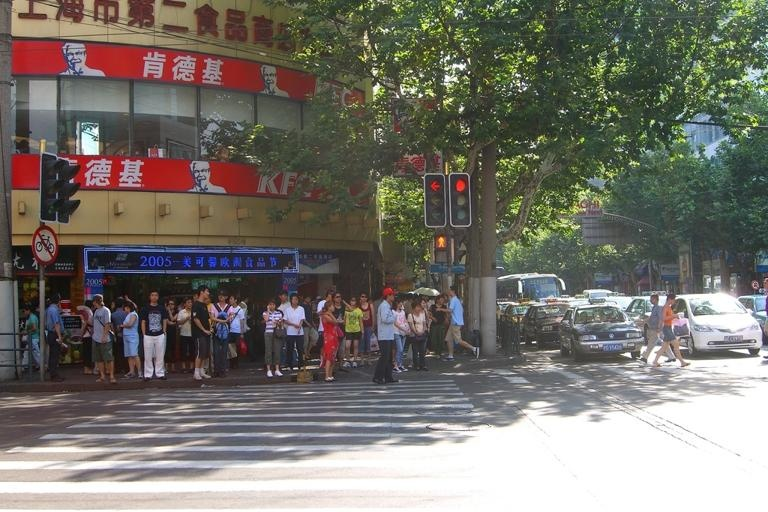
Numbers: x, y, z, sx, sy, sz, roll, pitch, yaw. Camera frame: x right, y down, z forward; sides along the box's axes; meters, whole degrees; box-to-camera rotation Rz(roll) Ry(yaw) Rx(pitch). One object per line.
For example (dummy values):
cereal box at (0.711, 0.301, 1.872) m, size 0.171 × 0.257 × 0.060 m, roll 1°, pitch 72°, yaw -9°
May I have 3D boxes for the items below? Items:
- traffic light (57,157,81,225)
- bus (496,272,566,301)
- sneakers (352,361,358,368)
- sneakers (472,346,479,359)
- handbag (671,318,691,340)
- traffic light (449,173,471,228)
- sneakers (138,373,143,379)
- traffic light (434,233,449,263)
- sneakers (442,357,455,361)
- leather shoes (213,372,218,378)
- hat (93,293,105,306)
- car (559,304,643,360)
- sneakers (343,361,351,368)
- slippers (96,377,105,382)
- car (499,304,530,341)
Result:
traffic light at (-8.928, -1.836, 24.146) m, size 0.588 × 1.804 × 1.221 m, roll -3°, pitch 3°, yaw -21°
bus at (8.973, 1.778, 54.395) m, size 2.089 × 1.944 × 6.050 m, roll 0°, pitch -6°, yaw -11°
sneakers at (-0.997, 3.628, 28.942) m, size 0.152 × 0.170 × 0.452 m, roll -2°, pitch -8°, yaw -1°
sneakers at (3.096, 3.228, 28.823) m, size 0.175 × 0.400 × 0.148 m, roll -5°, pitch 11°, yaw 5°
handbag at (9.814, 2.348, 28.282) m, size 0.618 × 0.772 × 0.788 m, roll 1°, pitch -19°, yaw 5°
traffic light at (2.313, -1.701, 26.482) m, size 0.651 × 1.590 × 0.795 m, roll -1°, pitch 3°, yaw 4°
sneakers at (-7.409, 3.596, 26.030) m, size 0.121 × 0.147 × 0.348 m, roll 2°, pitch 2°, yaw 4°
traffic light at (1.853, -0.235, 27.858) m, size 0.458 × 0.974 × 1.087 m, roll -1°, pitch 3°, yaw 3°
sneakers at (2.134, 3.394, 28.554) m, size 0.376 × 0.146 × 0.135 m, roll 2°, pitch 3°, yaw 9°
leather shoes at (-5.083, 3.550, 25.880) m, size 0.134 × 0.128 × 0.238 m, roll 1°, pitch -9°, yaw -13°
hat at (-8.498, 1.300, 25.288) m, size 0.360 × 0.452 × 0.460 m, roll 3°, pitch -5°, yaw -16°
car at (7.308, 2.573, 28.874) m, size 2.135 × 1.756 × 2.471 m, roll -1°, pitch 3°, yaw -3°
sneakers at (-1.258, 3.664, 29.203) m, size 0.132 × 0.260 × 0.391 m, roll 1°, pitch -13°, yaw -23°
slippers at (-8.208, 3.518, 24.798) m, size 0.271 × 0.128 × 0.493 m, roll -2°, pitch 3°, yaw -18°
car at (5.558, 2.725, 36.804) m, size 1.100 × 0.888 × 2.537 m, roll -2°, pitch 3°, yaw -3°
